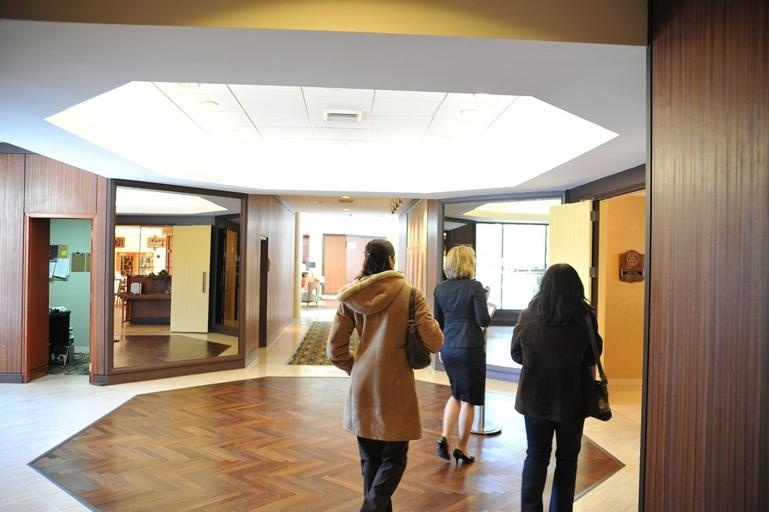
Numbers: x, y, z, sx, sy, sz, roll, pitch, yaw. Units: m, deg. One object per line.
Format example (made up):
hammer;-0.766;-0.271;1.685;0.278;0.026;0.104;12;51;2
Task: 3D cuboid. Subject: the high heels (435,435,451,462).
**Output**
high heels;0.572;1.897;5.229;0.093;0.261;0.111;-2;16;31

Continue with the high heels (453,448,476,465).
high heels;0.789;1.943;5.165;0.295;0.153;0.097;3;-1;-44

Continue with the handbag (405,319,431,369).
handbag;0.229;0.730;4.012;0.187;0.404;0.416;-12;-22;-1

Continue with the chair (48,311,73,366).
chair;-5.386;1.328;8.675;0.283;0.929;0.245;1;-2;-33
